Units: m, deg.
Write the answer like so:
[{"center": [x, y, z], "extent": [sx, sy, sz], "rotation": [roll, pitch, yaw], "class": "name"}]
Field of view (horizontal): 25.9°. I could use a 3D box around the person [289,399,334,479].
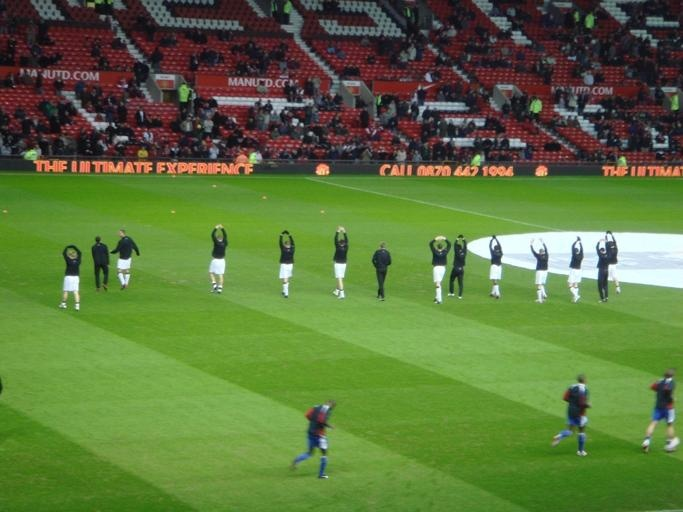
[{"center": [-0.837, 5.848, 48.193], "extent": [1.152, 2.692, 1.105], "rotation": [3, 3, -13], "class": "person"}]
